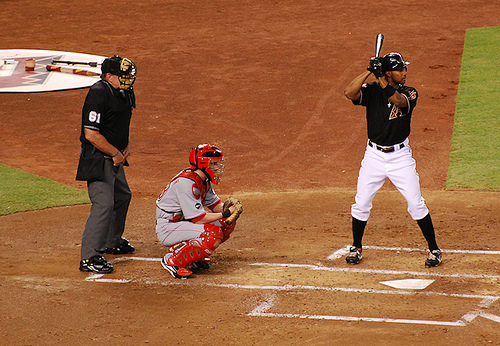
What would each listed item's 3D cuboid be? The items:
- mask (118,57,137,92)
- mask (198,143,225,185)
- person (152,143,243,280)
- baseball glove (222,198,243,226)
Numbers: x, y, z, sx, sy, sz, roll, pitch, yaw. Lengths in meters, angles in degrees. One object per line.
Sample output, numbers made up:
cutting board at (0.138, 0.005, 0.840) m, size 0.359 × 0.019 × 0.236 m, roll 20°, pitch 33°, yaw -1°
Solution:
mask at (-1.809, -1.424, 10.929) m, size 0.258 × 0.494 × 0.352 m, roll -4°, pitch 21°, yaw -2°
mask at (-0.661, -0.126, 10.868) m, size 0.628 × 0.484 × 0.451 m, roll 6°, pitch 8°, yaw -7°
person at (-0.828, 0.557, 10.785) m, size 1.249 × 1.858 × 0.815 m, roll -16°, pitch 26°, yaw -30°
baseball glove at (-0.339, 0.582, 10.925) m, size 0.283 × 0.356 × 0.327 m, roll 11°, pitch -14°, yaw 27°
